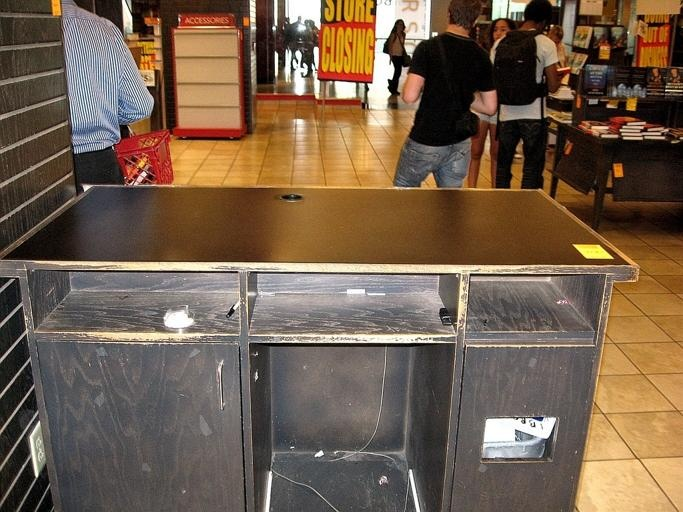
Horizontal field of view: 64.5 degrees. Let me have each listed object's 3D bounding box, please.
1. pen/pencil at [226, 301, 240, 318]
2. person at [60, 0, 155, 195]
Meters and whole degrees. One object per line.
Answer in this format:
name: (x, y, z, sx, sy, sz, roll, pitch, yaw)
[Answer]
pen/pencil: (-0.422, 0.207, 2.089, 0.020, 0.029, 0.080, -31, 18, 41)
person: (-1.605, -1.051, 3.540, 0.362, 1.141, 0.697, 5, 20, 11)
